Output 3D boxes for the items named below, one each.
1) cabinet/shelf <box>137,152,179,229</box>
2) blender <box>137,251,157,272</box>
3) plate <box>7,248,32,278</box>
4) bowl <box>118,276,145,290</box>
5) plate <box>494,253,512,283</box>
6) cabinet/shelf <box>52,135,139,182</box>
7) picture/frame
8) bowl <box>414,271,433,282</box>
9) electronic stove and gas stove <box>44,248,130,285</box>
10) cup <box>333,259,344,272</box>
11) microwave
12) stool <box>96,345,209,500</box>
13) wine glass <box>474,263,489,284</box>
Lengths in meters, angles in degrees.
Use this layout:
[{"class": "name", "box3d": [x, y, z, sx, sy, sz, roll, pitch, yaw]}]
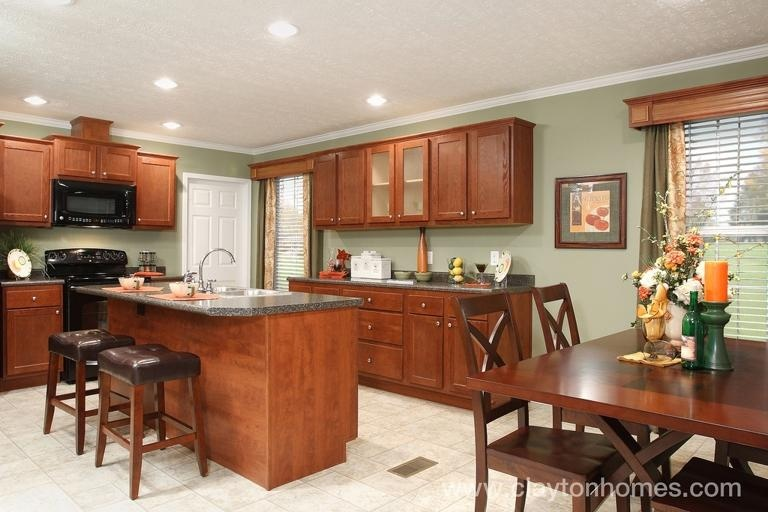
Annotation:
[{"class": "cabinet/shelf", "box3d": [-2.877, -0.802, 6.494, 0.514, 0.935, 0.128, -6, 13, -35]}, {"class": "blender", "box3d": [-3.013, 0.067, 6.593, 0.233, 0.248, 0.380, -3, 9, -23]}, {"class": "plate", "box3d": [-3.897, 0.070, 5.528, 0.104, 0.275, 0.325, -21, -28, 30]}, {"class": "bowl", "box3d": [-2.104, 0.228, 4.314, 0.166, 0.113, 0.143, -4, 9, -27]}, {"class": "plate", "box3d": [1.210, 0.117, 5.244, 0.169, 0.325, 0.227, 3, 10, 11]}, {"class": "cabinet/shelf", "box3d": [-3.325, -1.109, 5.986, 0.894, 0.500, 0.293, -4, 11, -27]}, {"class": "picture/frame", "box3d": [1.960, -0.422, 4.830, 0.923, 0.823, 0.066, 1, 1, 33]}, {"class": "bowl", "box3d": [0.425, 0.227, 5.628, 0.137, 0.067, 0.135, 0, -3, 0]}, {"class": "electronic stove and gas stove", "box3d": [-3.456, 0.125, 5.981, 0.890, 0.396, 0.580, 1, -2, -38]}, {"class": "cup", "box3d": [-0.557, 0.100, 6.374, 0.138, 0.134, 0.243, 0, 8, -4]}, {"class": "microwave", "box3d": [-3.343, -0.598, 5.967, 0.578, 0.503, 0.972, -2, -3, 41]}, {"class": "stool", "box3d": [-1.756, 1.072, 3.799, 0.701, 0.886, 1.100, -6, 11, -34]}, {"class": "wine glass", "box3d": [1.008, 0.170, 5.364, 0.144, 0.204, 0.330, 2, 8, 9]}]
